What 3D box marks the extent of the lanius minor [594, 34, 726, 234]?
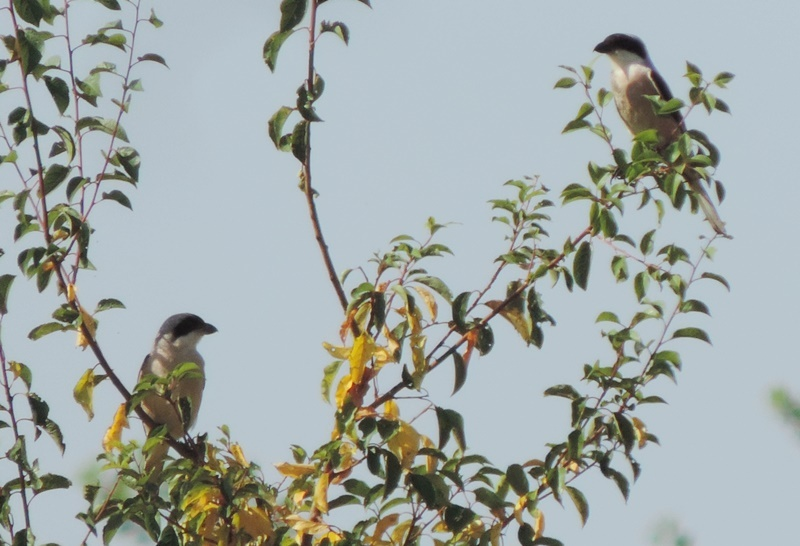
[{"bbox_3d":[1.736,-1.156,9.713,1.242,0.397,0.816,1,-82,-40],"label":"lanius minor"}]
